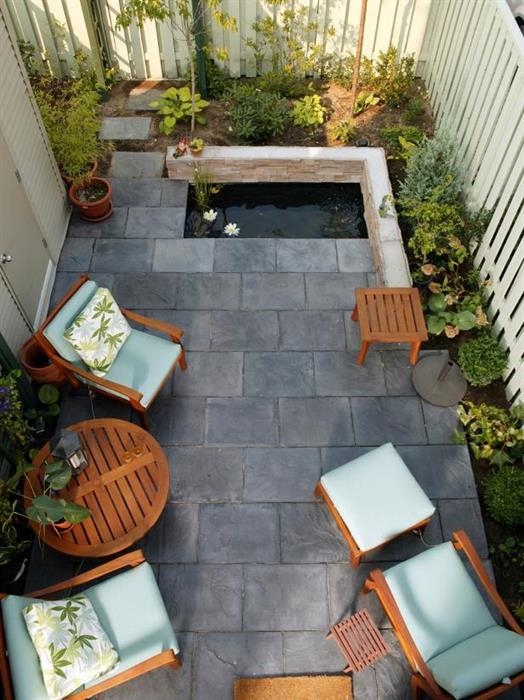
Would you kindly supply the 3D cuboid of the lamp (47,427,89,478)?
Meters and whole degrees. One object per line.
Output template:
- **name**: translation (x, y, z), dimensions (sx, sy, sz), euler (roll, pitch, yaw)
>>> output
- **lamp**: translation (-1.317, 0.708, 3.295), dimensions (0.254, 0.338, 0.208), euler (-13, 62, -3)

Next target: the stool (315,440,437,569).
- **stool**: translation (0.767, 1.057, 3.557), dimensions (0.746, 0.653, 0.759), euler (-27, 76, -8)

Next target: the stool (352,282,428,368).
- **stool**: translation (1.111, -0.287, 4.557), dimensions (0.654, 0.682, 0.752), euler (3, 54, 2)

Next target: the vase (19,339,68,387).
- **vase**: translation (-1.898, 0.142, 4.269), dimensions (0.345, 0.403, 0.366), euler (-10, 51, -29)

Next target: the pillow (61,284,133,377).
- **pillow**: translation (-1.309, -0.150, 3.926), dimensions (0.292, 0.411, 0.560), euler (16, 52, 10)
